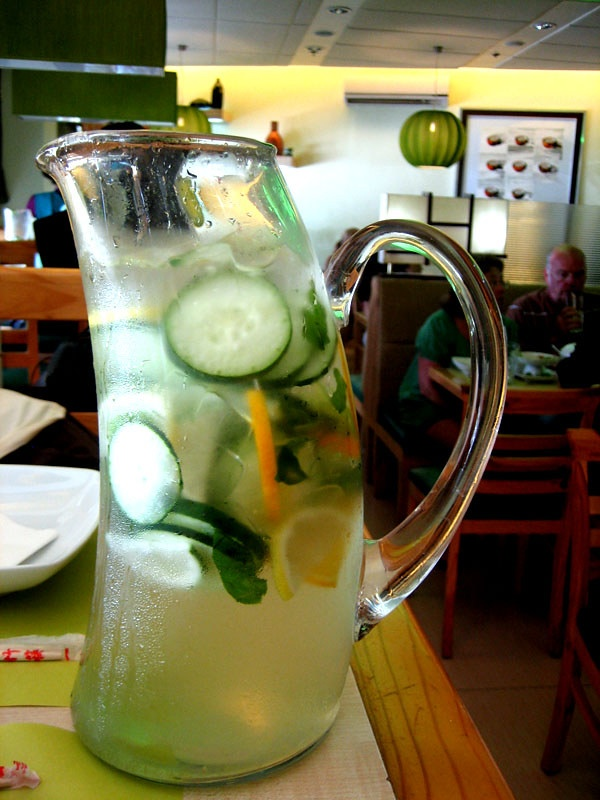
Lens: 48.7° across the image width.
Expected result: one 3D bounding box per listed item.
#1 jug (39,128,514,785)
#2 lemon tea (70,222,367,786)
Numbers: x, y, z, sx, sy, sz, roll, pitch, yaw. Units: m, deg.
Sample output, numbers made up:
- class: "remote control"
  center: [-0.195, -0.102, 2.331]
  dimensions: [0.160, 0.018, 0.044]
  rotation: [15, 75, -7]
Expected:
- class: "jug"
  center: [-0.003, 0.018, 0.276]
  dimensions: [0.191, 0.218, 0.106]
  rotation: [-1, 7, -20]
- class: "lemon tea"
  center: [-0.027, 0.041, 0.239]
  dimensions: [0.101, 0.199, 0.050]
  rotation: [1, 9, -16]
